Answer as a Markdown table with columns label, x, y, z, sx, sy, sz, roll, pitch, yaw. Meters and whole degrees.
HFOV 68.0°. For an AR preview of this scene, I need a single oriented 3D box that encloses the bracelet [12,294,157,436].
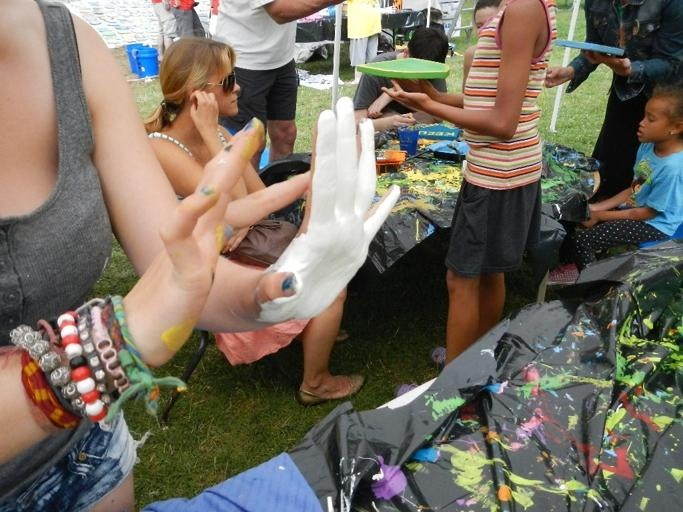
| label | x | y | z | sx | sy | sz | roll | pitch | yaw |
| --- | --- | --- | --- | --- | --- | --- | --- | --- | --- |
| bracelet | -0.407 | 0.172 | 0.847 | 0.187 | 0.244 | 0.127 | 36 | 38 | -1 |

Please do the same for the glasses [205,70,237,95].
| label | x | y | z | sx | sy | sz | roll | pitch | yaw |
| --- | --- | --- | --- | --- | --- | --- | --- | --- | --- |
| glasses | -0.606 | -0.868 | 2.548 | 0.108 | 0.047 | 0.111 | -1 | 39 | 6 |

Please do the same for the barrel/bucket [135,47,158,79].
| label | x | y | z | sx | sy | sz | roll | pitch | yaw |
| --- | --- | --- | --- | --- | --- | --- | --- | --- | --- |
| barrel/bucket | -3.372 | -3.352 | 8.811 | 0.441 | 0.473 | 0.443 | 4 | 33 | -3 |

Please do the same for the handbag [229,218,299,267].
| label | x | y | z | sx | sy | sz | roll | pitch | yaw |
| --- | --- | --- | --- | --- | --- | --- | --- | --- | --- |
| handbag | -0.338 | -0.081 | 2.360 | 0.263 | 0.100 | 0.274 | 8 | 42 | 28 |

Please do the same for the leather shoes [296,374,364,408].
| label | x | y | z | sx | sy | sz | roll | pitch | yaw |
| --- | --- | --- | --- | --- | --- | --- | --- | --- | --- |
| leather shoes | -0.055 | 0.666 | 2.643 | 0.327 | 0.096 | 0.142 | -13 | 25 | -16 |
